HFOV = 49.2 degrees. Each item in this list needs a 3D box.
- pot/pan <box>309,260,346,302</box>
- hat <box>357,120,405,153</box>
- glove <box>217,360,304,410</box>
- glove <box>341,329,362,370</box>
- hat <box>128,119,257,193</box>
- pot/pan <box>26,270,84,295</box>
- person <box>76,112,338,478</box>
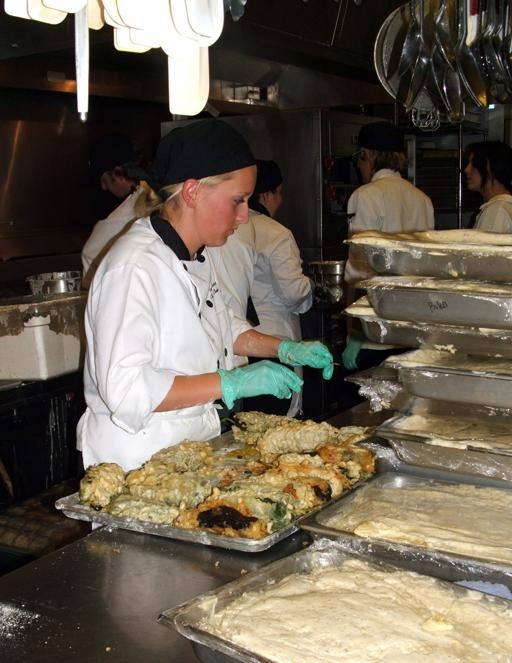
[{"bbox_3d":[0.546,-0.365,4.176,0.313,0.288,0.304,-3,-1,2],"label":"pot/pan"},{"bbox_3d":[0.880,-1.353,3.923,0.264,0.143,0.245,-11,30,-26],"label":"hat"},{"bbox_3d":[-0.003,0.134,1.481,0.258,0.109,0.125,-3,2,-34],"label":"glove"},{"bbox_3d":[0.430,0.094,2.513,0.079,0.189,0.367,-2,1,9],"label":"glove"},{"bbox_3d":[-0.175,-0.489,1.525,0.311,0.131,0.195,-11,15,-2],"label":"hat"},{"bbox_3d":[-1.094,-0.258,3.119,0.261,0.101,0.303,0,2,6],"label":"pot/pan"},{"bbox_3d":[-0.180,-0.104,1.601,0.683,0.959,0.529,-4,2,-36],"label":"person"}]
